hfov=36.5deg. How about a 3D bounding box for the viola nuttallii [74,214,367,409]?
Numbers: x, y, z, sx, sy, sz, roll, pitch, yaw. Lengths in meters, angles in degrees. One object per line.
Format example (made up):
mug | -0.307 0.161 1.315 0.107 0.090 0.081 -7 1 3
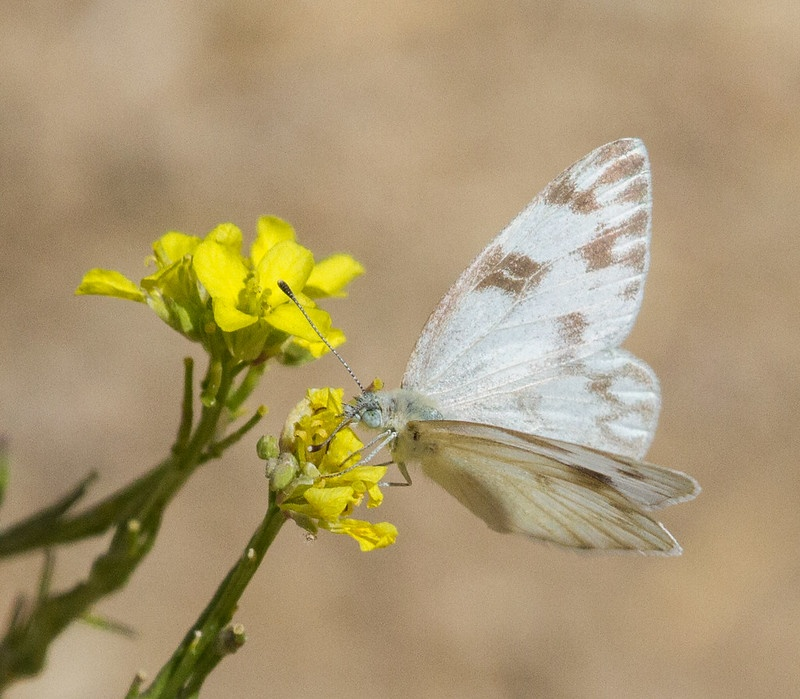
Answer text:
viola nuttallii | -0.585 -0.172 4.074 0.917 0.609 0.404 12 -59 -12

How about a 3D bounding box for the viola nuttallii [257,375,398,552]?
viola nuttallii | -0.242 0.377 3.845 0.301 0.430 0.573 -7 -65 -17

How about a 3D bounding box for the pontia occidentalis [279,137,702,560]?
pontia occidentalis | 0.475 0.142 4.922 1.350 1.623 1.897 10 -21 -8
